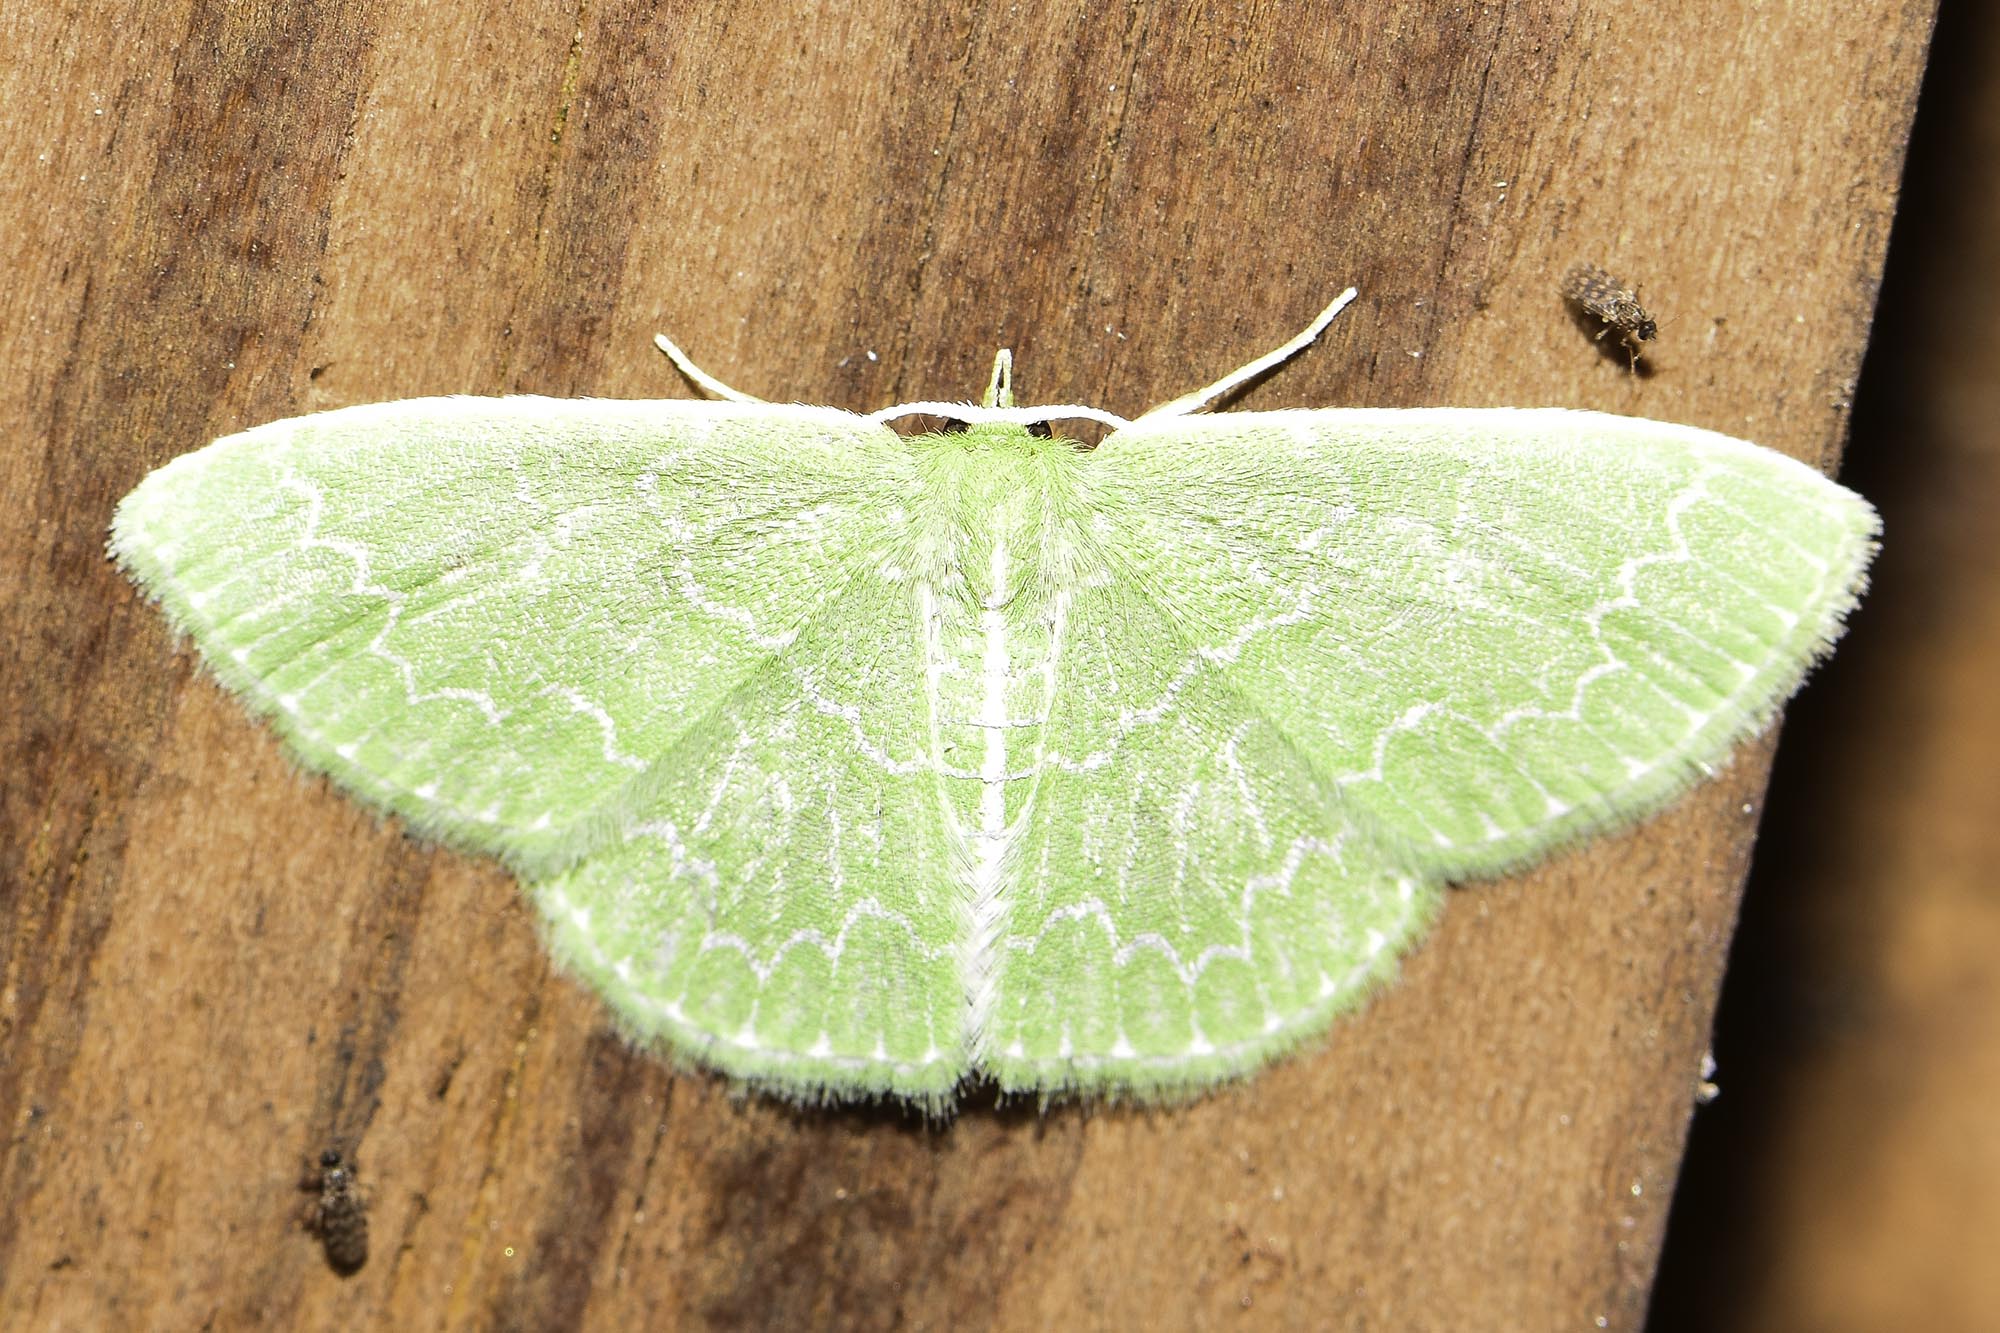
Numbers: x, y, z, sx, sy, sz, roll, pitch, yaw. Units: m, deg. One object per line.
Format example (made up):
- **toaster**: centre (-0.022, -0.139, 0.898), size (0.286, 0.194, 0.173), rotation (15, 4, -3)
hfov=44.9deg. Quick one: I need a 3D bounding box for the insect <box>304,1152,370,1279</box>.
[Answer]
- **insect**: centre (-2.042, 1.684, 7.384), size (0.201, 0.092, 0.376), rotation (-1, 93, -7)
